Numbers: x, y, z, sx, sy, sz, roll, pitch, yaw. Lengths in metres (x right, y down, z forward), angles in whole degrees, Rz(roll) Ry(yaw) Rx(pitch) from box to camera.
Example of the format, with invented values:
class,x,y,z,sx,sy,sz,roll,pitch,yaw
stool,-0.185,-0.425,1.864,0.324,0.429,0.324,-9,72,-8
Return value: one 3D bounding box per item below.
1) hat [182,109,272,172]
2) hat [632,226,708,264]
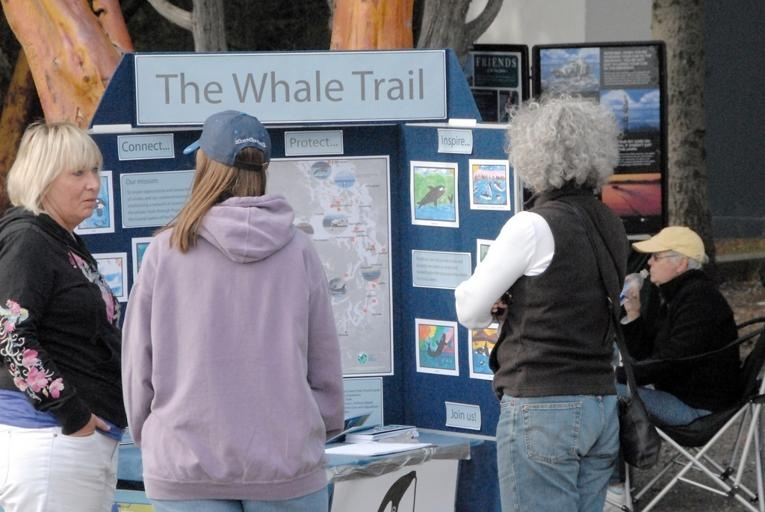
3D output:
class,x,y,z,sx,sy,sz,roll,pitch,yaw
hat,-0.749,-0.566,5.803,0.250,0.168,0.331,-5,22,-41
hat,1.870,-0.084,7.869,0.412,0.160,0.253,7,-1,4
